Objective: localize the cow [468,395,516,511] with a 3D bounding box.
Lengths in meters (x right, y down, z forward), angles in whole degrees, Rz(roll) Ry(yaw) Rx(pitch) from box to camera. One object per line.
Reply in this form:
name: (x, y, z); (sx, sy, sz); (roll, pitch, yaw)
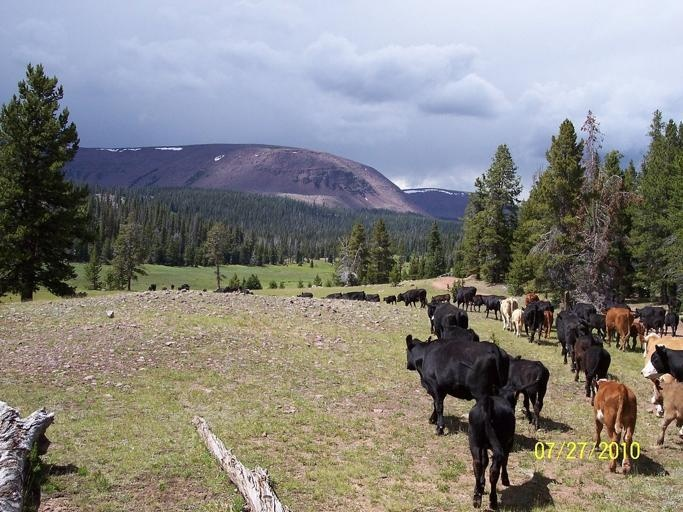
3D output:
cow: (4.793, 6.190, 18.381); (1.403, 3.285, 1.215); (-2, 14, -20)
